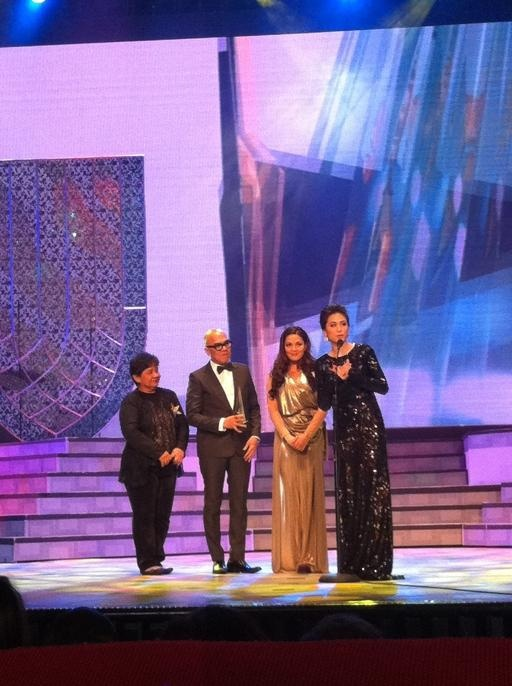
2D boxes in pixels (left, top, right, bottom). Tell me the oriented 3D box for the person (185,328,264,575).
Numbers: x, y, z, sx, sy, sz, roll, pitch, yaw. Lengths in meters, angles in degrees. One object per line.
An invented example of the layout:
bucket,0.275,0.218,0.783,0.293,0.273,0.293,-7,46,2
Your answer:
person,-0.162,0.551,5.017,0.435,1.238,0.481,5,-6,-4

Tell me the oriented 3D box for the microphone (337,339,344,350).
microphone,0.390,0.010,4.359,0.013,0.045,0.032,16,-47,7

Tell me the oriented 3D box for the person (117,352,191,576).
person,-0.501,0.630,5.100,0.471,1.146,0.398,-1,-8,43

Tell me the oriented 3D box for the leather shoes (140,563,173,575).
leather shoes,-0.498,1.138,4.833,0.151,0.051,0.054,-6,-7,11

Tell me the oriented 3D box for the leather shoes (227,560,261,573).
leather shoes,-0.065,1.123,4.812,0.195,0.078,0.061,0,-1,-5

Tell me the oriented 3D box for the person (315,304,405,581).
person,0.474,0.441,4.427,0.431,1.238,0.473,4,-6,2
